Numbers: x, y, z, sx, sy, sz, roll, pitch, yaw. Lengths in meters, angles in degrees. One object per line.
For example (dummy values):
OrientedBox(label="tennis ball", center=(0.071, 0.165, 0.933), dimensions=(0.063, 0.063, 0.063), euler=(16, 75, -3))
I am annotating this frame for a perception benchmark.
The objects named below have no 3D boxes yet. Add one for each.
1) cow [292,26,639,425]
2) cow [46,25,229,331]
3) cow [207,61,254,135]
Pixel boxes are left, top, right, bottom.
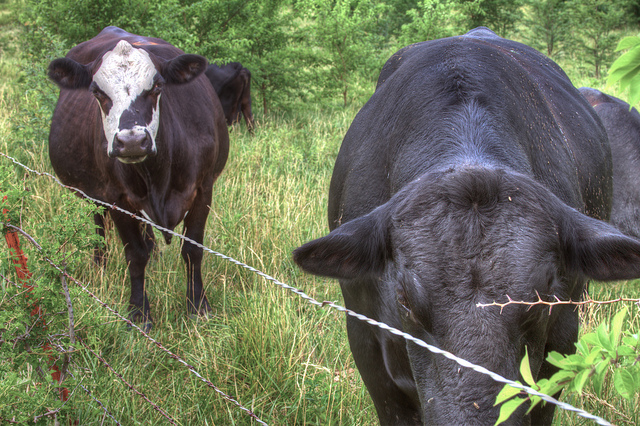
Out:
OrientedBox(label="cow", center=(1.077, -0.411, 6.357), dimensions=(1.801, 2.634, 3.965), euler=(-1, 23, 11))
OrientedBox(label="cow", center=(-1.871, -0.427, 7.592), dimensions=(1.744, 2.937, 1.769), euler=(3, 8, 1))
OrientedBox(label="cow", center=(-1.781, -1.855, 13.787), dimensions=(0.666, 1.236, 2.224), euler=(0, -11, -23))
